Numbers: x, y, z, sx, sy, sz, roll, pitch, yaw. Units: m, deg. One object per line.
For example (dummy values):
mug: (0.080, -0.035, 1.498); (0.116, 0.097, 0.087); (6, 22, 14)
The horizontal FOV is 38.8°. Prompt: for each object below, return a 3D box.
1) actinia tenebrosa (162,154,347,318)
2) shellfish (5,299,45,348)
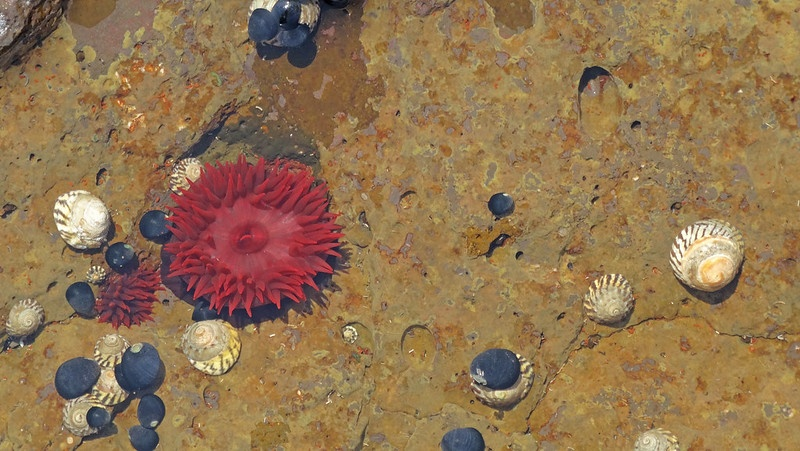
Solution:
actinia tenebrosa: (-2.965, 0.237, 22.904); (3.186, 1.056, 2.775); (-9, 82, -2)
shellfish: (-7.733, 1.941, 23.010); (0.662, 0.238, 1.046); (37, 90, -12)
